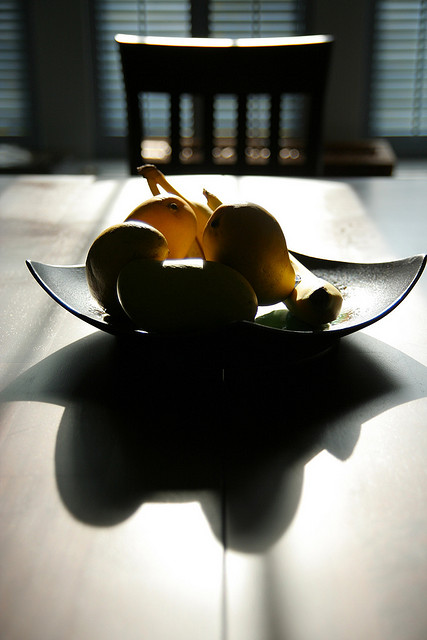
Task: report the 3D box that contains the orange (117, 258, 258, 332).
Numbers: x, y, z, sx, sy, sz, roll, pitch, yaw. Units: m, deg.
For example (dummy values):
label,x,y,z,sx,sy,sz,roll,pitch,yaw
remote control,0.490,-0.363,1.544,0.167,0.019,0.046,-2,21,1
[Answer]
label,x,y,z,sx,sy,sz,roll,pitch,yaw
orange,-0.012,-0.003,0.269,0.056,0.033,0.029,9,68,-9

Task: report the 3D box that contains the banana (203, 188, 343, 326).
label,x,y,z,sx,sy,sz,roll,pitch,yaw
banana,0.038,-0.030,0.331,0.020,0.018,0.075,-43,64,-1
